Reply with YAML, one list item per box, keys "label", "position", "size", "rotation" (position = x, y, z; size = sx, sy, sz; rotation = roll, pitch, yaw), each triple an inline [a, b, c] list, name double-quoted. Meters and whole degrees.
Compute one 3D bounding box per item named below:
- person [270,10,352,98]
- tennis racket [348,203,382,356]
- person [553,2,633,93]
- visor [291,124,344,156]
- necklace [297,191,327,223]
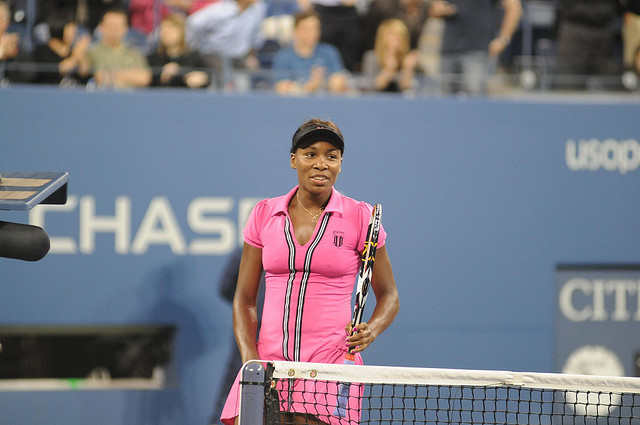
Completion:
- label: "person"
  position: [-0.091, -1.800, 20.908]
  size: [0.822, 1.403, 0.953]
  rotation: [0, -3, -1]
- label: "tennis racket"
  position: [0.486, 0.549, 18.284]
  size: [0.269, 1.262, 0.120]
  rotation: [2, -1, -25]
- label: "person"
  position: [3.142, -1.925, 20.595]
  size: [0.849, 1.004, 0.379]
  rotation: [1, -1, 9]
- label: "visor"
  position: [-0.012, -0.755, 18.374]
  size: [0.519, 0.308, 0.209]
  rotation: [2, -2, -8]
- label: "necklace"
  position: [-0.069, -0.048, 18.370]
  size: [0.232, 0.314, 0.025]
  rotation: [7, -18, -6]
